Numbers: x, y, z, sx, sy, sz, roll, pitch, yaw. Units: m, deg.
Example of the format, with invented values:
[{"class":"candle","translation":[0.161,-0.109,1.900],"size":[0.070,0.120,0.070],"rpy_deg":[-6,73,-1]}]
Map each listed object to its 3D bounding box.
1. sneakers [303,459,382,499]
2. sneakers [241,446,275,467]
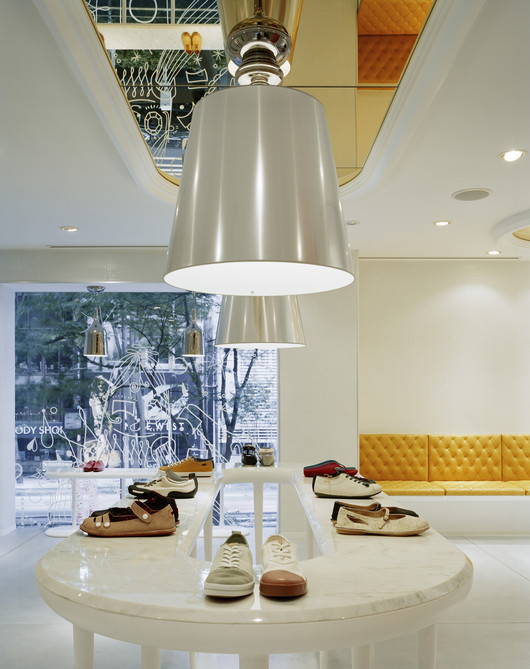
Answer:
[{"class":"sneakers","translation":[0.298,0.593,2.291],"size":[0.412,0.147,0.142],"rpy_deg":[-1,-4,13]},{"class":"sneakers","translation":[-0.045,0.806,3.594],"size":[0.264,0.135,0.337],"rpy_deg":[-1,-9,4]}]
